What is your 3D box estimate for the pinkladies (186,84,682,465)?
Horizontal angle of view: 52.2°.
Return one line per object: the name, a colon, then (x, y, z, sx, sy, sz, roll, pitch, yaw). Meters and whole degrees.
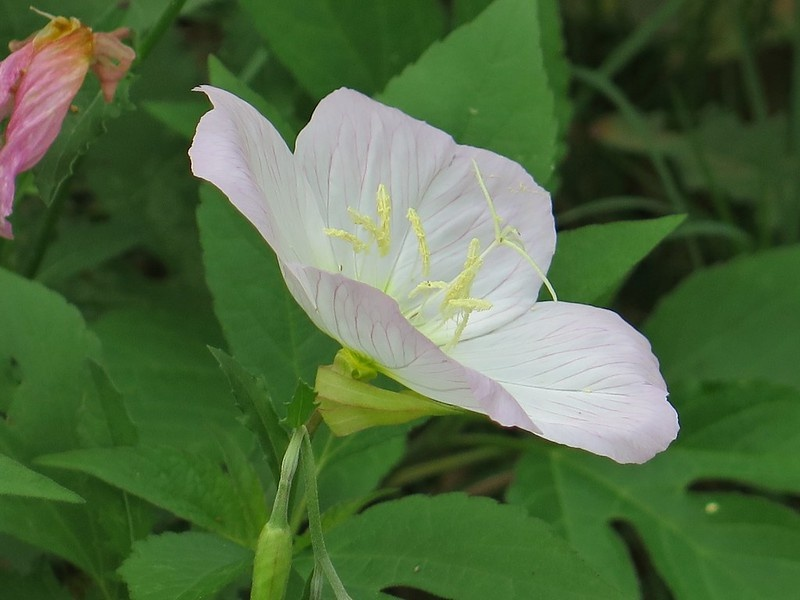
pinkladies: (0.049, -0.051, 0.778, 0.436, 0.306, 0.291, 7, 24, 21)
